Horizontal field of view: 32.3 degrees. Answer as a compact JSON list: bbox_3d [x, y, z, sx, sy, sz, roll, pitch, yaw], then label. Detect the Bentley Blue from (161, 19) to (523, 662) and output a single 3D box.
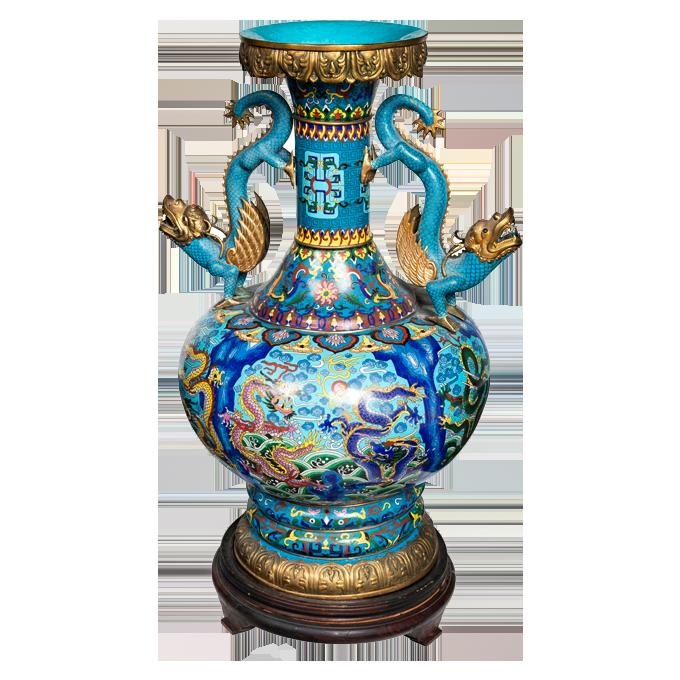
[{"bbox_3d":[-0.025,0.022,3.651,0.856,1.987,1.035,3,-8,-39],"label":"Bentley Blue"}]
